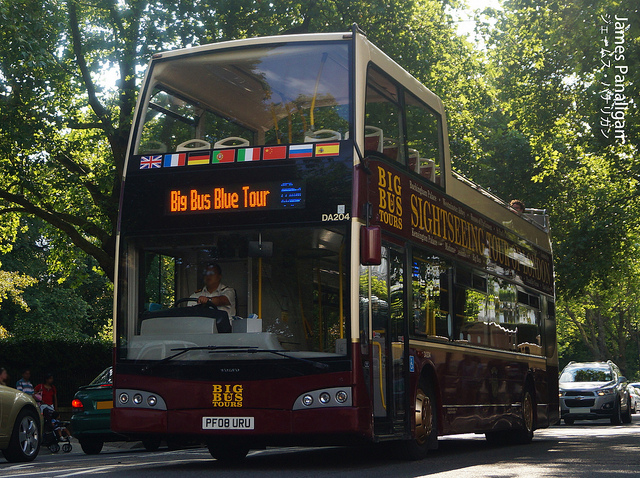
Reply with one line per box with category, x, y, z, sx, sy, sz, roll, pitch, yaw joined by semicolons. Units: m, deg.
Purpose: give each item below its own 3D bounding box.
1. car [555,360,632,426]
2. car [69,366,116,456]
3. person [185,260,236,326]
car;10.092;5.595;29.442;2.325;2.449;4.003;-5;-15;19
car;-4.888;3.712;17.679;0.954;2.065;5.557;4;-15;-16
person;-1.553;1.039;11.870;0.703;1.348;0.711;-1;-12;-13
